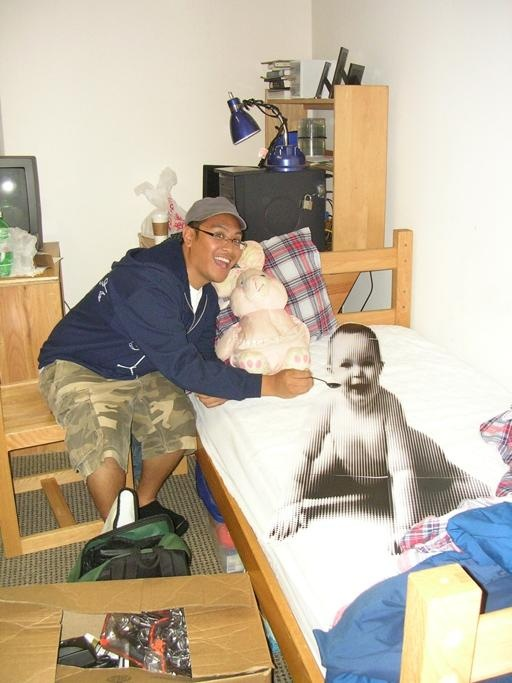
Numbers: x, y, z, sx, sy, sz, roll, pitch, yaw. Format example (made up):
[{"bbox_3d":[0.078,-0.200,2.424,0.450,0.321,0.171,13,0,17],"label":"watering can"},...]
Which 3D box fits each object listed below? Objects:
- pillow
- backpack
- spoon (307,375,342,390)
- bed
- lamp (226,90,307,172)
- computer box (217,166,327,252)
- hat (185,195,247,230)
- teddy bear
[{"bbox_3d":[0.036,-0.127,1.912,0.439,0.466,0.181,-5,-16,-33],"label":"pillow"},{"bbox_3d":[-0.261,0.437,1.118,0.197,0.104,0.249,-3,41,-24],"label":"backpack"},{"bbox_3d":[0.221,0.133,1.698,0.095,0.014,0.018,20,39,28],"label":"spoon"},{"bbox_3d":[0.222,0.252,1.362,0.519,0.494,0.951,-13,42,-10],"label":"bed"},{"bbox_3d":[0.056,-0.977,2.457,0.367,0.384,0.292,-5,12,-2],"label":"lamp"},{"bbox_3d":[0.135,-0.550,2.466,0.421,0.412,0.243,-2,-9,-3],"label":"computer box"},{"bbox_3d":[-0.134,-0.403,1.667,0.113,0.072,0.146,-2,-7,-30],"label":"hat"},{"bbox_3d":[0.018,-0.106,1.793,0.309,0.444,0.309,-25,27,-39],"label":"teddy bear"}]
